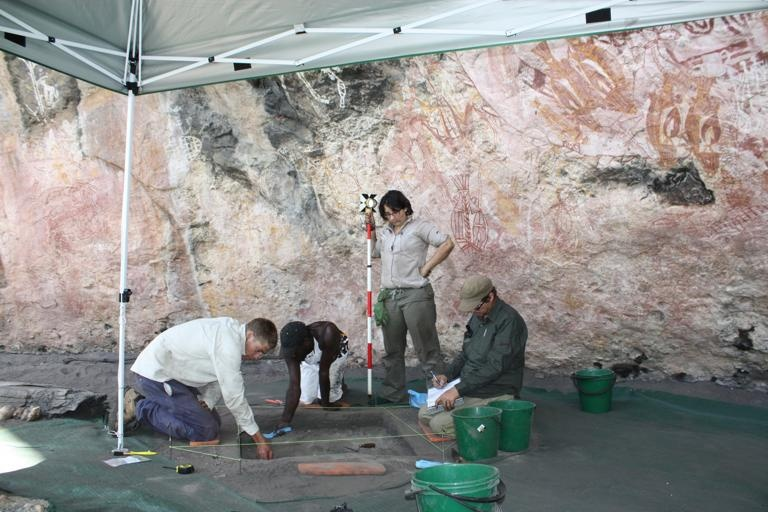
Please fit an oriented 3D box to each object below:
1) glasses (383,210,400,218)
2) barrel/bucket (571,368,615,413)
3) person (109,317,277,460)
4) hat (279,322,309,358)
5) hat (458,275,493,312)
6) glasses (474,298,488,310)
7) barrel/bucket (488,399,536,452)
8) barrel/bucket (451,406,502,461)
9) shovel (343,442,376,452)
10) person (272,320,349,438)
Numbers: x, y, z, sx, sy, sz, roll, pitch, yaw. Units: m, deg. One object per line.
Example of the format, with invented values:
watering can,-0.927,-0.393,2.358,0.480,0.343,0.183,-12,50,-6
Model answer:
glasses,0.097,-0.517,7.099,0.209,0.086,0.100,1,7,7
barrel/bucket,2.524,1.616,6.859,0.545,0.430,0.491,-4,-5,13
person,-1.929,1.305,6.292,1.890,1.340,0.994,7,12,10
hat,-0.976,0.907,6.220,0.299,0.401,0.222,12,-36,18
hat,1.000,0.411,6.292,0.303,0.225,0.436,18,55,46
glasses,1.061,0.519,6.239,0.135,0.048,0.097,-35,-3,1
barrel/bucket,1.269,1.714,5.757,0.509,0.339,0.480,0,-5,0
barrel/bucket,0.957,1.772,5.745,0.582,0.409,0.556,-2,-3,0
shovel,-0.253,2.032,6.099,0.331,0.036,0.193,-1,6,-3
person,-0.926,1.330,6.991,0.729,1.102,1.549,-4,6,14
